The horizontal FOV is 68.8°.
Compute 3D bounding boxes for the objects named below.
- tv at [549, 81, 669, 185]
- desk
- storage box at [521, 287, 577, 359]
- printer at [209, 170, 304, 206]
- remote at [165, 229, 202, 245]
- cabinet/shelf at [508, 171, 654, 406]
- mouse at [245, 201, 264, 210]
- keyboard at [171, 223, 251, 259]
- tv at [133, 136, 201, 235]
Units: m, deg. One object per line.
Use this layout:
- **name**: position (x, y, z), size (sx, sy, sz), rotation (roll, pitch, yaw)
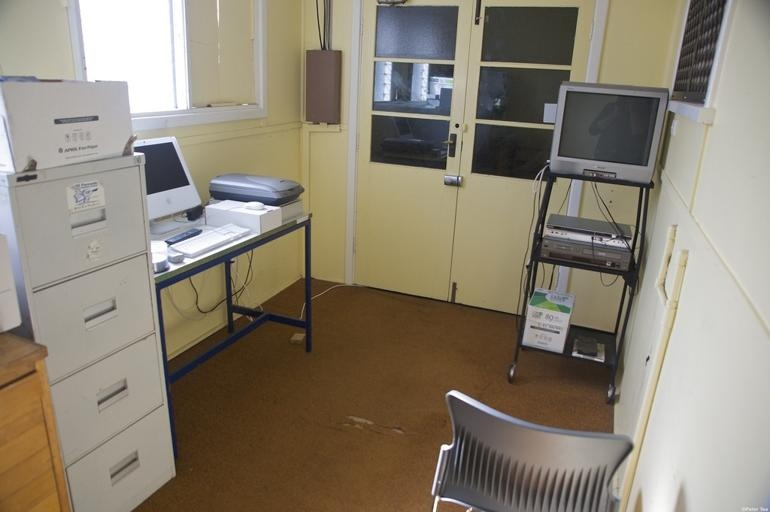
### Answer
- **tv**: position (1.374, -0.738, 3.417), size (0.546, 0.529, 0.329), rotation (10, 18, 15)
- **desk**: position (-0.967, 0.530, 3.530), size (0.621, 0.863, 1.121), rotation (10, 24, 23)
- **storage box**: position (1.089, 0.443, 3.767), size (0.324, 0.476, 0.440), rotation (8, -7, 20)
- **printer**: position (-0.822, -0.433, 3.604), size (0.434, 0.141, 0.270), rotation (12, 17, 16)
- **remote**: position (-1.143, -0.117, 3.213), size (0.072, 0.030, 0.143), rotation (17, 27, 32)
- **cabinet/shelf**: position (1.348, 0.105, 3.876), size (0.739, 1.426, 0.974), rotation (9, 22, 19)
- **mouse**: position (-0.792, -0.309, 3.443), size (0.068, 0.023, 0.062), rotation (6, 23, 5)
- **keyboard**: position (-0.973, -0.091, 3.173), size (0.167, 0.034, 0.322), rotation (16, 27, 23)
- **tv**: position (-1.252, -0.393, 3.229), size (0.165, 0.510, 0.495), rotation (14, 24, 16)
